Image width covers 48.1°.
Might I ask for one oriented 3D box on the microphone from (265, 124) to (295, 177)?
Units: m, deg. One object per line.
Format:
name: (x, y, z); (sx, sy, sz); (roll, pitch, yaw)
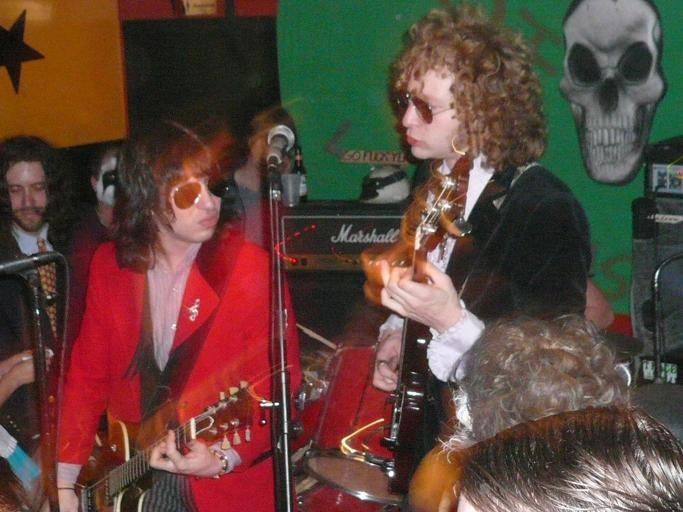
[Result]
microphone: (-0.273, -0.476, 3.339); (0.120, 0.214, 0.269); (1, 5, -6)

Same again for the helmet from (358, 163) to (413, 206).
helmet: (0.291, -0.489, 5.335); (0.319, 0.244, 0.252); (-34, 24, -19)

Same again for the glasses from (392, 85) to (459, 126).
glasses: (0.379, -0.674, 3.469); (0.221, 0.082, 0.170); (-1, 23, -31)

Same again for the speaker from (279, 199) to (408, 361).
speaker: (0.009, 0.107, 4.619); (0.959, 0.922, 0.553); (-7, 9, -6)

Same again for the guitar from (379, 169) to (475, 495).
guitar: (0.377, 0.297, 3.358); (0.318, 1.420, 0.389); (3, 6, 8)
